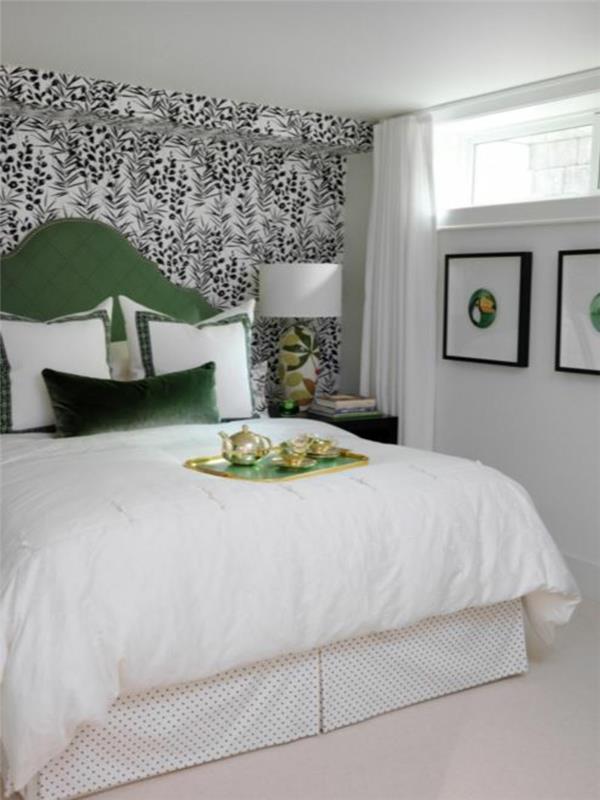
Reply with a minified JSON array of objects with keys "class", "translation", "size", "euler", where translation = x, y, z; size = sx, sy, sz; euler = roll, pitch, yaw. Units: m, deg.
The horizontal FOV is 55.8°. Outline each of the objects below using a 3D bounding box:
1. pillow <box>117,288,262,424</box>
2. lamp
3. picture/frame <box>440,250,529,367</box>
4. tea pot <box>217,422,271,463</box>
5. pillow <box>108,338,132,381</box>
[{"class":"pillow","translation":[-0.573,-0.213,2.849],"size":[0.706,0.723,0.273],"euler":[1,-22,-35]},{"class":"lamp","translation":[-0.026,-0.429,3.785],"size":[0.541,0.939,0.549],"euler":[0,3,-17]},{"class":"picture/frame","translation":[1.045,-0.518,3.152],"size":[0.068,0.671,0.630],"euler":[-1,5,-26]},{"class":"tea pot","translation":[-0.188,0.156,1.957],"size":[0.147,0.107,0.104],"euler":[5,-4,-34]},{"class":"pillow","translation":[-0.939,-0.217,2.973],"size":[0.158,0.059,0.201],"euler":[-8,52,-5]}]
